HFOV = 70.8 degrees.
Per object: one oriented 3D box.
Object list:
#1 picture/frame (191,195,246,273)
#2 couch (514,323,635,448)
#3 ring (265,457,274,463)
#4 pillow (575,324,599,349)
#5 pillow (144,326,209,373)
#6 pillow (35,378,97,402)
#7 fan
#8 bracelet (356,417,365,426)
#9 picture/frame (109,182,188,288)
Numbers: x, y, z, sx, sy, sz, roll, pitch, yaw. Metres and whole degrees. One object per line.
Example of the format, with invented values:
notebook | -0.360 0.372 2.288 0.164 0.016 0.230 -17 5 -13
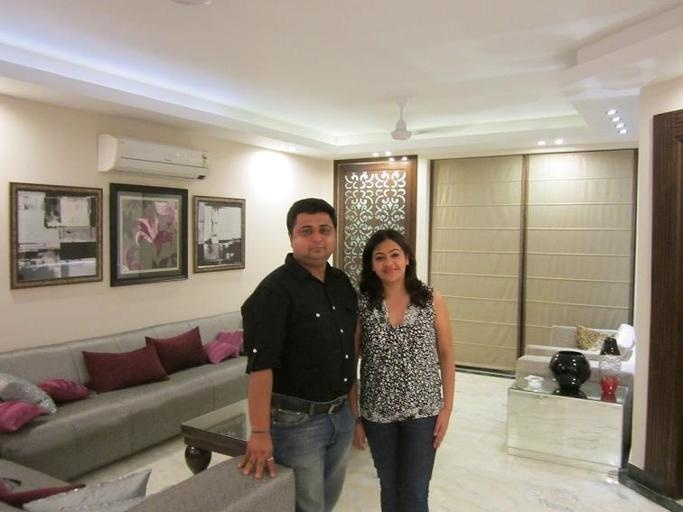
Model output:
picture/frame | -1.500 -0.269 5.741 0.070 0.995 0.884 5 8 38
couch | 2.288 1.199 4.819 1.117 1.081 1.213 -2 -4 30
ring | -0.308 0.873 2.061 0.024 0.006 0.025 2 0 0
pillow | 2.751 0.930 5.352 0.223 0.068 0.229 0 43 36
pillow | -1.666 0.946 4.774 0.131 0.274 0.380 -18 -6 33
pillow | -2.269 1.097 3.936 0.228 0.120 0.227 19 2 34
fan | 0.913 -1.572 5.658 1.103 0.609 0.398 -1 5 -4
bracelet | 0.103 0.903 2.628 0.039 0.041 0.043 -1 -1 5
picture/frame | -2.040 -0.231 4.983 0.063 1.292 1.098 1 3 34
